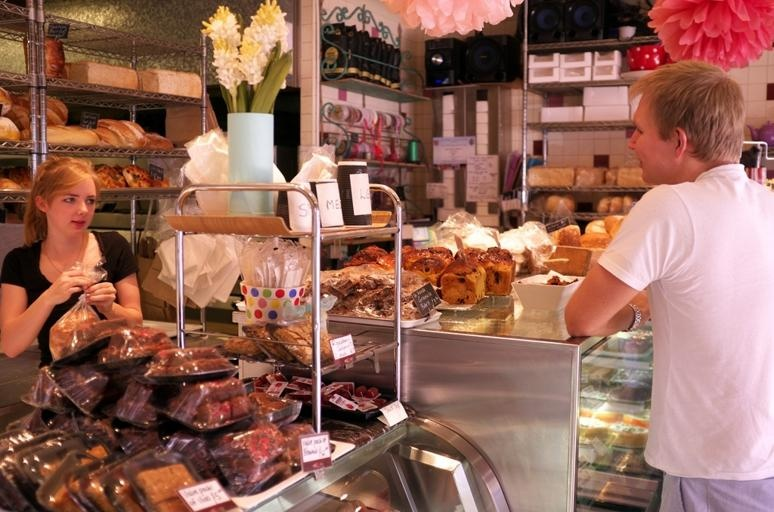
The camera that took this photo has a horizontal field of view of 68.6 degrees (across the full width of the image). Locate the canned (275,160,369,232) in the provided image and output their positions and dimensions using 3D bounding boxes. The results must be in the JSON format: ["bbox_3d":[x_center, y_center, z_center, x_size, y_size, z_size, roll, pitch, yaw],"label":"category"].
[{"bbox_3d":[-0.239,-0.172,1.698,0.297,0.183,0.175,-6,-2,16],"label":"canned"}]

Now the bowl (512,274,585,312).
[{"bbox_3d":[0.692,0.179,2.450,0.288,0.111,0.379,-5,-8,9],"label":"bowl"}]

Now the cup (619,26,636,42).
[{"bbox_3d":[2.213,-2.046,5.221,0.158,0.168,0.234,2,7,21],"label":"cup"}]

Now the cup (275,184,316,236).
[{"bbox_3d":[-0.258,-0.136,1.568,0.100,0.138,0.195,-1,6,-10],"label":"cup"}]

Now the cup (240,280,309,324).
[{"bbox_3d":[-0.345,0.134,1.702,0.150,0.089,0.140,0,-3,0],"label":"cup"}]

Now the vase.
[{"bbox_3d":[-0.384,-0.261,1.594,0.122,0.286,0.103,-2,7,-16],"label":"vase"}]
